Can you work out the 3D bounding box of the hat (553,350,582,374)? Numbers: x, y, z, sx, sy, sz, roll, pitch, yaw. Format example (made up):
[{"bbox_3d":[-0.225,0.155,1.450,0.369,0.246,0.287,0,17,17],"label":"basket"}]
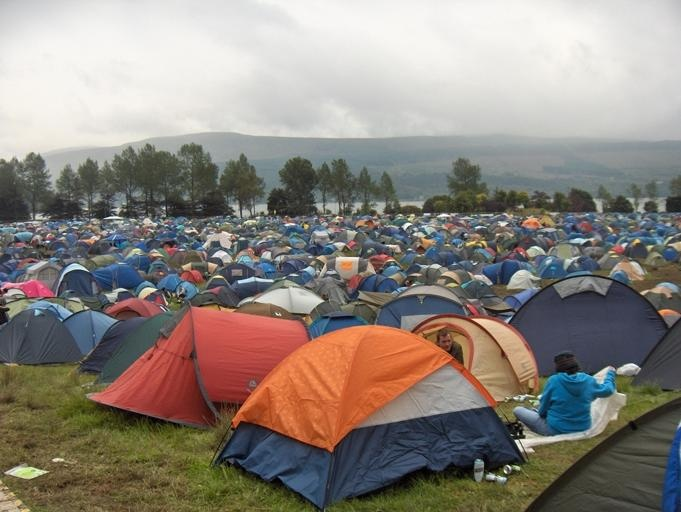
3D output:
[{"bbox_3d":[3.502,1.673,8.374,0.288,0.347,0.378,-16,-17,-21],"label":"hat"}]

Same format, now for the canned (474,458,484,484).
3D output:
[{"bbox_3d":[1.963,3.033,7.577,0.159,0.277,0.061,6,-5,-24],"label":"canned"}]

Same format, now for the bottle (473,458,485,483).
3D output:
[{"bbox_3d":[1.989,3.023,7.657,0.154,0.271,0.325,2,10,29],"label":"bottle"}]
